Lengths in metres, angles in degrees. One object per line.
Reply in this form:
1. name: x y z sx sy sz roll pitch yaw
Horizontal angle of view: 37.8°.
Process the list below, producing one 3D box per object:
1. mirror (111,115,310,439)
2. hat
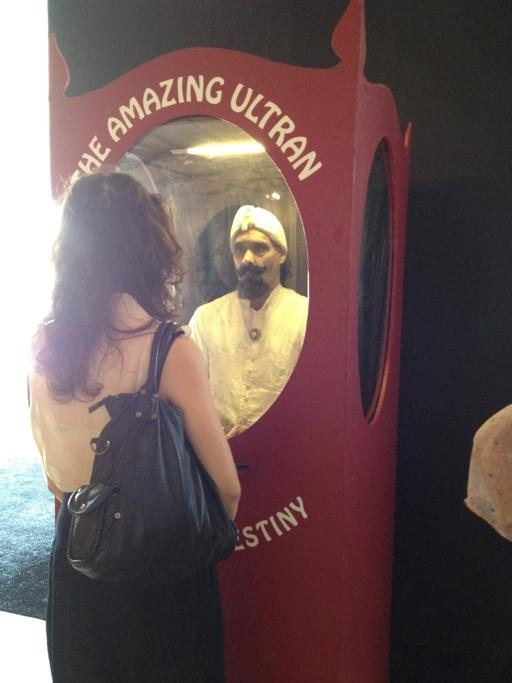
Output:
1. mirror: -0.080 -0.136 1.691 0.033 1.002 0.621 -3 4 -43
2. hat: 0.006 -0.284 1.800 0.105 0.151 0.094 0 11 -41
